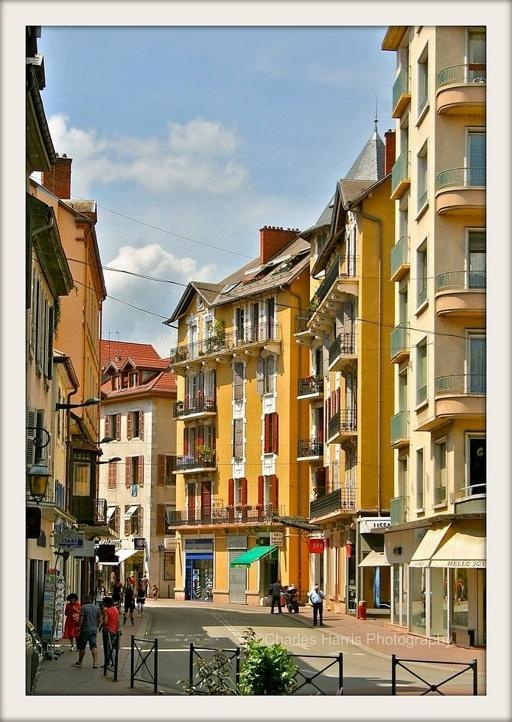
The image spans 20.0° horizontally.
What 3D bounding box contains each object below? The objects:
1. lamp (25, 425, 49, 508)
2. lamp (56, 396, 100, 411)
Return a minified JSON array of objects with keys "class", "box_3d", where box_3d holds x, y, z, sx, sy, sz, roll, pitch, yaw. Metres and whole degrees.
[{"class":"lamp","box_3d":[-3.313,1.539,22.118,0.277,1.167,0.397,1,-4,-36]},{"class":"lamp","box_3d":[-5.376,1.268,43.290,1.214,0.641,0.829,5,2,-6]}]
